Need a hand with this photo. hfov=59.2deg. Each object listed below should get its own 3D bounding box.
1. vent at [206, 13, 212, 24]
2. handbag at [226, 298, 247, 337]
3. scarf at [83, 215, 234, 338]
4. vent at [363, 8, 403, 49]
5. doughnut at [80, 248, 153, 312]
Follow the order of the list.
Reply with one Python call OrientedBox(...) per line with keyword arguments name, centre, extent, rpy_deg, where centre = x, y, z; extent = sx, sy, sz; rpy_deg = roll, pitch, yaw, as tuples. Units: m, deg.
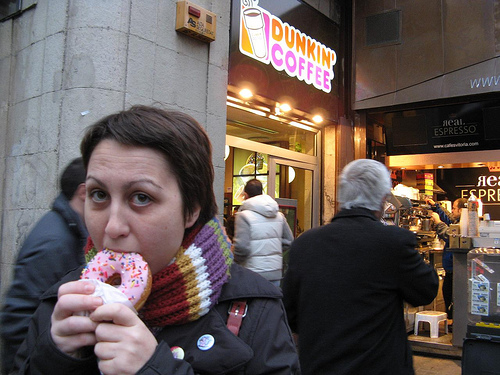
OrientedBox(name="vent", centre=(-0.510, -2.096, 5.464), extent=(0.014, 0.132, 0.148), rpy_deg=(-7, -9, 32))
OrientedBox(name="handbag", centre=(-0.055, 0.527, 1.836), extent=(0.051, 0.204, 0.033), rpy_deg=(11, 11, 1))
OrientedBox(name="scarf", centre=(-0.380, 0.312, 1.978), extent=(0.548, 0.491, 0.503), rpy_deg=(-2, 9, -41))
OrientedBox(name="vent", centre=(2.693, -3.222, 8.945), extent=(0.767, 0.743, 0.094), rpy_deg=(-1, -2, 32))
OrientedBox(name="doughnut", centre=(-0.492, 0.323, 1.695), extent=(0.236, 0.250, 0.091), rpy_deg=(-9, -27, 10))
